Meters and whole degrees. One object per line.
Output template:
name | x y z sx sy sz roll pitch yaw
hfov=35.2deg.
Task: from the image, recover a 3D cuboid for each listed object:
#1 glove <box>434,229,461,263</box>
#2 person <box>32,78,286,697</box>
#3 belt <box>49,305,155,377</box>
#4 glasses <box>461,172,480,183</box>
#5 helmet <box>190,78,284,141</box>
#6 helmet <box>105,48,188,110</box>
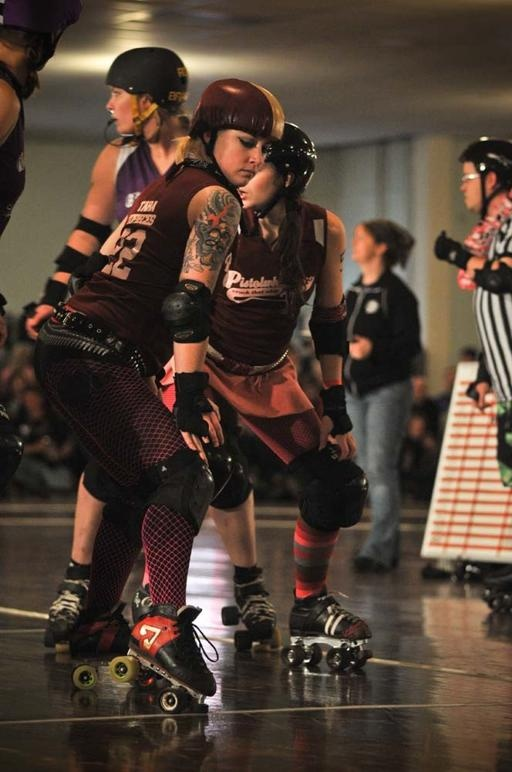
glove | 0.757 -0.559 3.218 0.096 0.121 0.285 4 11 12
person | -0.279 -0.084 1.894 0.541 1.338 0.782 4 13 7
belt | -0.371 -0.088 1.892 0.218 0.059 0.174 25 -1 -16
glasses | 0.869 -0.854 3.284 0.048 0.015 0.046 39 18 -4
helmet | -0.045 -0.700 2.091 0.168 0.144 0.221 -2 21 -45
helmet | -0.388 -1.124 2.948 0.320 0.197 0.212 -7 29 -13
